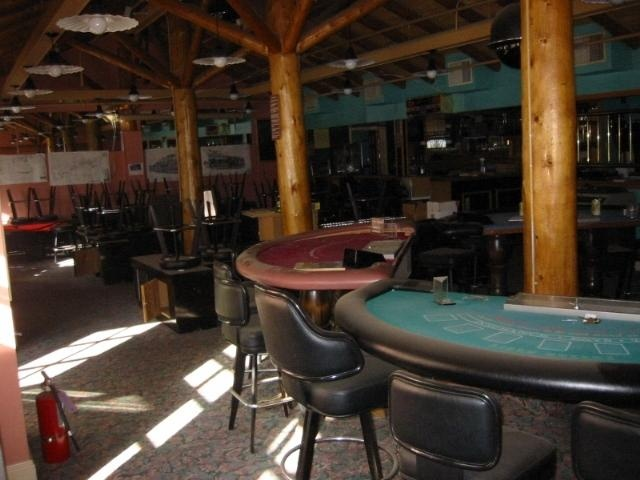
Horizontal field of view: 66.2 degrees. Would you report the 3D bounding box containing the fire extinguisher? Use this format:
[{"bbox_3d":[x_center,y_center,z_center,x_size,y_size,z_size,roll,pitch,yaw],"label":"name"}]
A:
[{"bbox_3d":[-1.887,1.218,3.438,0.272,0.622,0.305,-17,17,-30],"label":"fire extinguisher"}]
